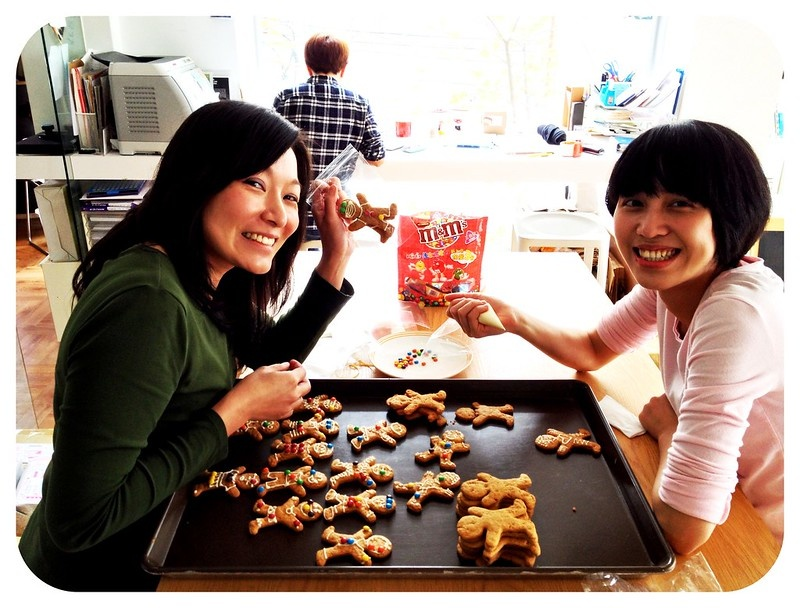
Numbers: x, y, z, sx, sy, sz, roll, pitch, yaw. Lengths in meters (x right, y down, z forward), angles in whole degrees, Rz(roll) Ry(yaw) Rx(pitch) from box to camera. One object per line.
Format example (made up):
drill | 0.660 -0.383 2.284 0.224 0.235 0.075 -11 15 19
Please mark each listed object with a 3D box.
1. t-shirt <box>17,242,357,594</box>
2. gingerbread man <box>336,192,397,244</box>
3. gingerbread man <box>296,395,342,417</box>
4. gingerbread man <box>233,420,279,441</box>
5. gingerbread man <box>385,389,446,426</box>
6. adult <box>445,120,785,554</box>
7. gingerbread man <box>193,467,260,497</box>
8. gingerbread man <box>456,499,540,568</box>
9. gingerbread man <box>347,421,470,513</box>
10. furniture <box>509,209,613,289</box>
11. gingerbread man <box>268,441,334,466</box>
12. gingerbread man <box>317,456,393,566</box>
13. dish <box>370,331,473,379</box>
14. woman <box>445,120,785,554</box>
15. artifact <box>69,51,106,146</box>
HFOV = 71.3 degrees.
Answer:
t-shirt | -0.446 0.144 1.620 0.747 1.090 0.604 7 27 -16
gingerbread man | -0.109 -0.274 1.878 0.153 0.161 0.158 -3 1 40
gingerbread man | -0.226 0.288 1.574 0.082 0.017 0.060 -3 23 -17
gingerbread man | -0.381 0.339 1.486 0.068 0.015 0.068 2 25 -10
gingerbread man | 0.046 0.287 1.559 0.108 0.031 0.097 5 24 12
adult | 0.473 -0.120 1.823 0.966 1.558 0.699 2 15 -3
gingerbread man | -0.411 0.423 1.327 0.088 0.023 0.067 1 19 -12
gingerbread man | 0.210 0.489 1.190 0.177 0.079 0.142 3 18 4
gingerbread man | 0.047 0.394 1.401 0.214 0.032 0.174 24 38 39
furniture | 1.059 -0.327 3.828 0.561 0.603 0.592 2 33 3
gingerbread man | -0.252 0.380 1.425 0.105 0.028 0.071 -2 21 -9
gingerbread man | -0.094 0.440 1.216 0.118 0.037 0.244 1 27 -1
dish | 0.073 0.144 1.880 0.276 0.042 0.279 0 11 -1
woman | 0.428 -0.125 1.798 0.966 1.558 0.699 2 15 -3
artifact | -2.031 -1.342 3.605 0.191 0.493 0.495 0 29 -13
